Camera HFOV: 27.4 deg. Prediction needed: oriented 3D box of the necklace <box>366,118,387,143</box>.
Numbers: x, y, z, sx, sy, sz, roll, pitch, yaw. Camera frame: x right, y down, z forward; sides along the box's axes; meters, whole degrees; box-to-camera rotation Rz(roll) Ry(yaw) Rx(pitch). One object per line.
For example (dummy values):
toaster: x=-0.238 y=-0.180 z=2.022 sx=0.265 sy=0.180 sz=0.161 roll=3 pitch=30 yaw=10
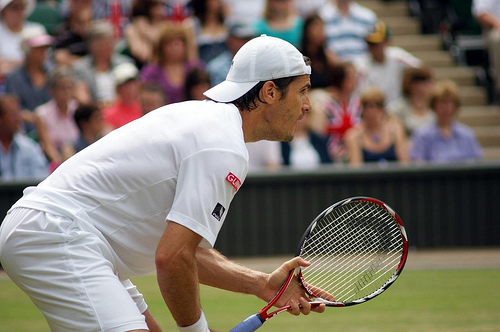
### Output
necklace: x=1.807 y=-0.515 z=14.622 sx=0.223 sy=0.346 sz=0.080 roll=-3 pitch=10 yaw=2

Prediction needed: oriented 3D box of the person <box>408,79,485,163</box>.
person: x=2.762 y=-0.617 z=14.691 sx=1.097 sy=1.157 sz=0.562 roll=-1 pitch=0 yaw=-14

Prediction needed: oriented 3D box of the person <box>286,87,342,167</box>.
person: x=0.962 y=-0.562 z=15.160 sx=0.385 sy=1.131 sz=0.811 roll=15 pitch=-3 yaw=13
